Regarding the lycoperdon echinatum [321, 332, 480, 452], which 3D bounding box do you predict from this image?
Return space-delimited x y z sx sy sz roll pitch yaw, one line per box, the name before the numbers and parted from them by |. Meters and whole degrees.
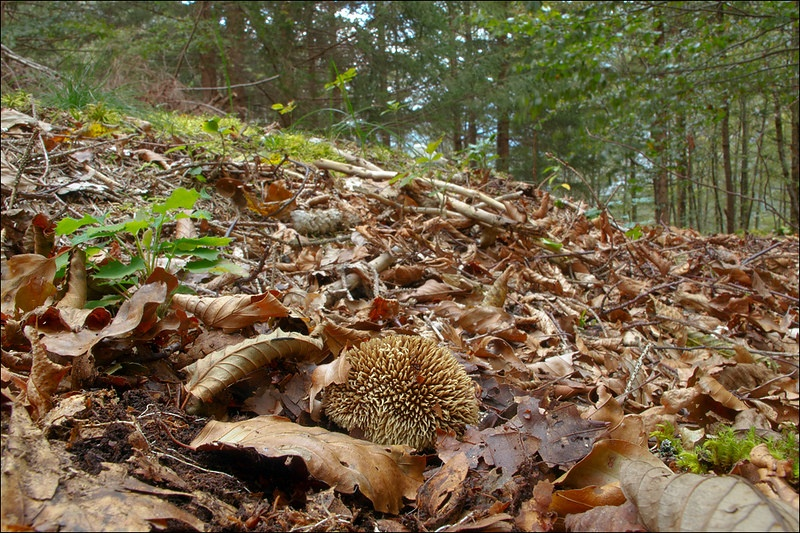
lycoperdon echinatum | -0.005 0.664 3.433 0.703 0.507 0.630 3 5 -20
